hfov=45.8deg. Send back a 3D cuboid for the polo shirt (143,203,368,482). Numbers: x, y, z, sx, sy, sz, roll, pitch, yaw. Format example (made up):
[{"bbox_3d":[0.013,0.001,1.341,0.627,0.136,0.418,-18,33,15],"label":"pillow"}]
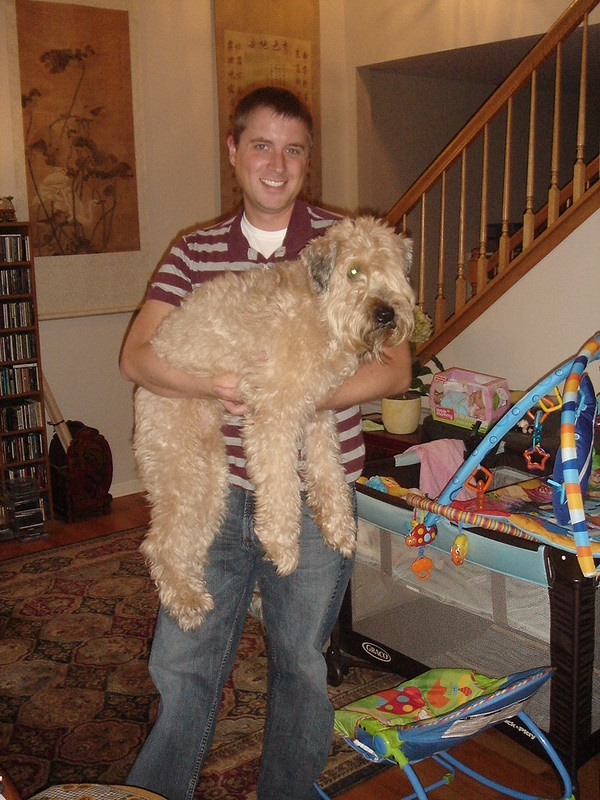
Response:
[{"bbox_3d":[-0.202,-0.129,1.799,0.559,0.621,0.224,2,-2,-20],"label":"polo shirt"}]

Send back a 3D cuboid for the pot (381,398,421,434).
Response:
[{"bbox_3d":[0.525,0.086,3.741,0.215,0.150,0.195,0,4,21],"label":"pot"}]

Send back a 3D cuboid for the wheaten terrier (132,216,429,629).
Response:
[{"bbox_3d":[0.043,-0.046,1.999,1.011,1.133,0.596,-3,10,3],"label":"wheaten terrier"}]

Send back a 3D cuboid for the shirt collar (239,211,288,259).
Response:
[{"bbox_3d":[-0.081,-0.372,1.593,0.099,0.077,0.103,0,6,6],"label":"shirt collar"}]
